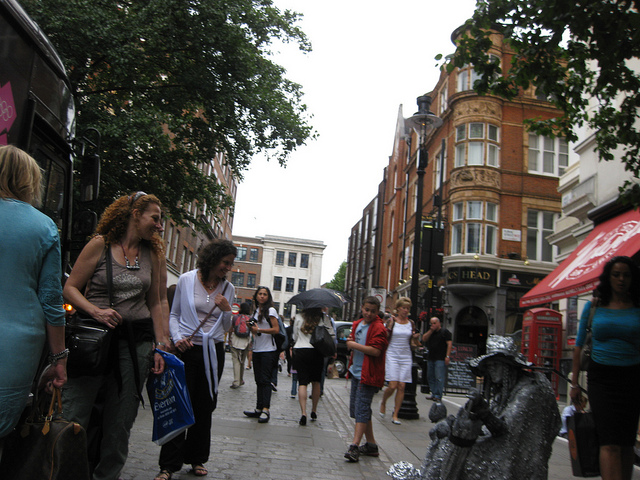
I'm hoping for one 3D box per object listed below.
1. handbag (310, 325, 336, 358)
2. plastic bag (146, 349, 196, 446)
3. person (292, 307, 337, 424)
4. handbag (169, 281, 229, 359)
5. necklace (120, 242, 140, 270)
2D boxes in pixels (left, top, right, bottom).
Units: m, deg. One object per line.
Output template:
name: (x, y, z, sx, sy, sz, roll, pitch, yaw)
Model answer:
handbag: (0.031, 1.725, 8.824, 0.196, 0.440, 0.473, -17, -58, 33)
plastic bag: (-1.366, 1.439, 4.759, 0.444, 0.843, 0.291, 9, -11, -17)
person: (-0.051, 2.080, 9.095, 0.839, 2.155, 0.709, 10, -15, -24)
handbag: (-1.266, 0.832, 5.488, 0.513, 0.831, 0.286, 10, -11, -21)
necklace: (-1.676, 0.146, 4.589, 0.190, 0.233, 0.103, 10, -12, -21)
